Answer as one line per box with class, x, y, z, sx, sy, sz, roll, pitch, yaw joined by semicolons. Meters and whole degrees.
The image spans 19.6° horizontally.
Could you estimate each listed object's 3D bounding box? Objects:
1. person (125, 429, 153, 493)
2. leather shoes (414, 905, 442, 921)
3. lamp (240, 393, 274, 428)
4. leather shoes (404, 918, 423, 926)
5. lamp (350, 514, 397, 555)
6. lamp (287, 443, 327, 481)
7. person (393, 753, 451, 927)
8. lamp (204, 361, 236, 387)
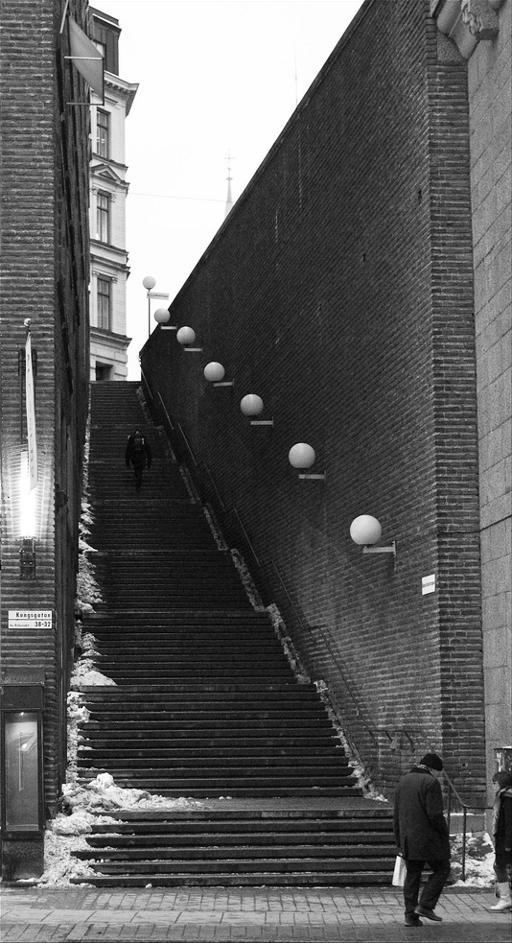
person;-2.408;-0.192;30.320;0.489;1.340;1.733;1;-8;-5
leather shoes;1.239;3.193;10.766;0.183;0.131;0.375;0;-9;7
lamp;-0.021;-0.919;22.095;0.263;0.361;0.727;-1;-8;7
leather shoes;1.110;3.202;10.599;0.114;0.071;0.087;-1;-8;11
lamp;1.229;0.674;15.734;0.456;0.654;0.365;-1;1;4
lamp;0.598;-0.160;18.994;0.281;0.531;0.567;-4;-12;18
person;1.189;2.661;10.795;0.395;1.206;0.462;0;-7;5
lamp;-0.596;-1.707;25.591;0.353;0.395;0.733;-1;-13;-1
